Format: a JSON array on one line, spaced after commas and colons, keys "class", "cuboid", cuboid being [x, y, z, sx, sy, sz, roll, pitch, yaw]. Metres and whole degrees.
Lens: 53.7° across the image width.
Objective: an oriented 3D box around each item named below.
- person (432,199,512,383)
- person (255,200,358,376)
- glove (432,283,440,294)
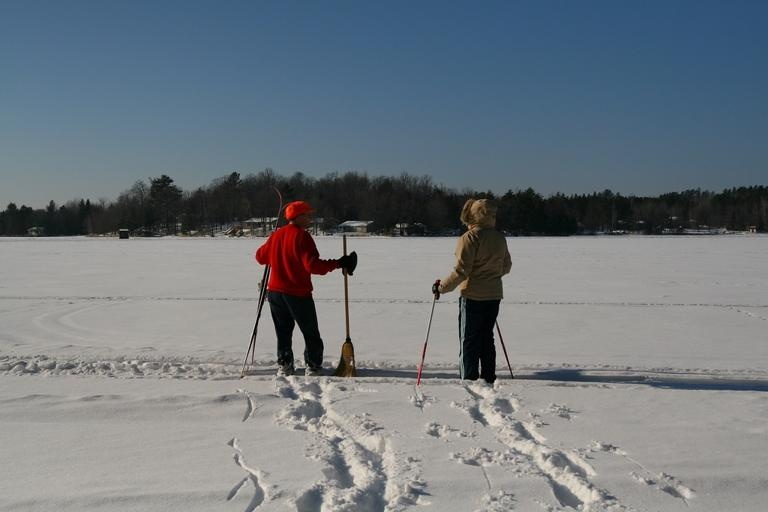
[{"class": "person", "cuboid": [1.194, 0.439, 9.969, 0.951, 2.368, 0.463, -2, 4, -31]}, {"class": "person", "cuboid": [-1.125, 0.454, 10.403, 1.477, 2.362, 0.801, 6, 9, 33]}, {"class": "glove", "cuboid": [0.662, 0.426, 9.933, 0.090, 0.129, 0.036, -11, -14, 42]}]
